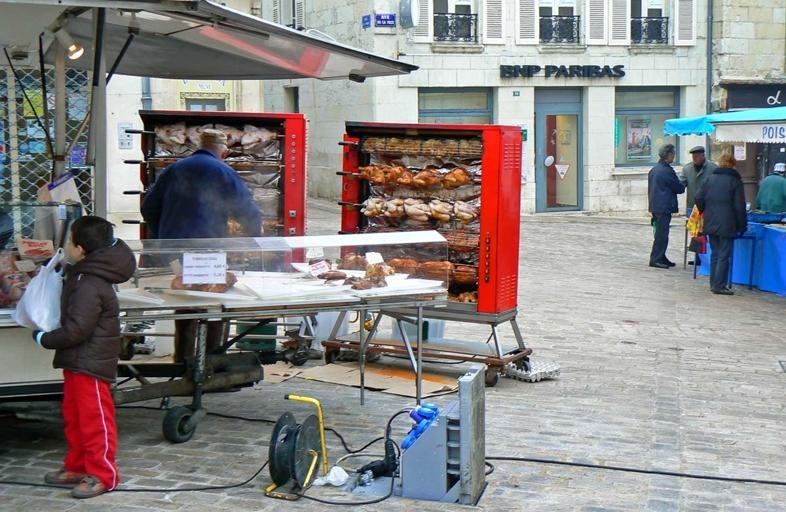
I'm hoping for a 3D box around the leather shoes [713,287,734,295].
[{"bbox_3d":[5.532,0.607,14.087,0.407,0.130,0.114,-1,6,0],"label":"leather shoes"}]

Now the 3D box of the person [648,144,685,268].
[{"bbox_3d":[5.307,-1.005,16.435,0.985,2.168,0.833,2,3,21],"label":"person"}]

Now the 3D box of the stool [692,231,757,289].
[{"bbox_3d":[5.989,0.113,15.040,1.038,0.957,1.716,1,0,-38],"label":"stool"}]

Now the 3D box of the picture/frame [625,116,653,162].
[{"bbox_3d":[7.251,-3.433,24.682,0.907,1.252,0.159,-6,17,-25],"label":"picture/frame"}]

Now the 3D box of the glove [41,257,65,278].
[{"bbox_3d":[-2.889,0.097,7.127,0.151,0.131,0.174,3,-7,-10],"label":"glove"}]
